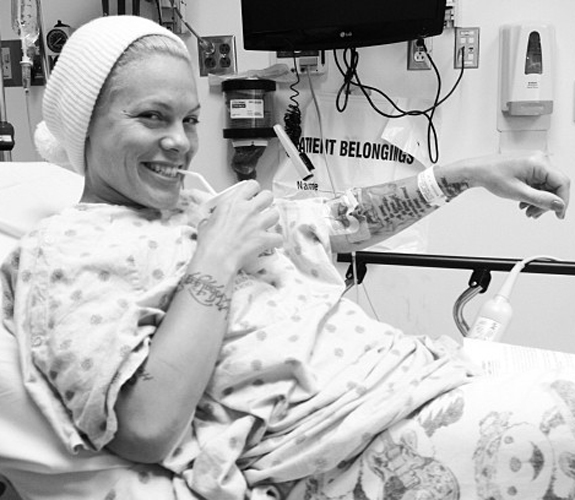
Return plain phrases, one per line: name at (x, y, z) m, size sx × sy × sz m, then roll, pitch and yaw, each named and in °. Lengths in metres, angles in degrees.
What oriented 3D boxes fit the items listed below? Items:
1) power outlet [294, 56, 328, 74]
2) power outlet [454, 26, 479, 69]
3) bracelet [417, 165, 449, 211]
power outlet at (0.085, -0.645, 2.695) m, size 0.098 × 0.063 × 0.073 m, roll 2°, pitch -4°, yaw 1°
power outlet at (0.618, -0.690, 2.582) m, size 0.081 × 0.148 × 0.016 m, roll 2°, pitch -14°, yaw 14°
bracelet at (0.336, -0.143, 1.755) m, size 0.057 × 0.081 × 0.082 m, roll -33°, pitch -25°, yaw 35°
